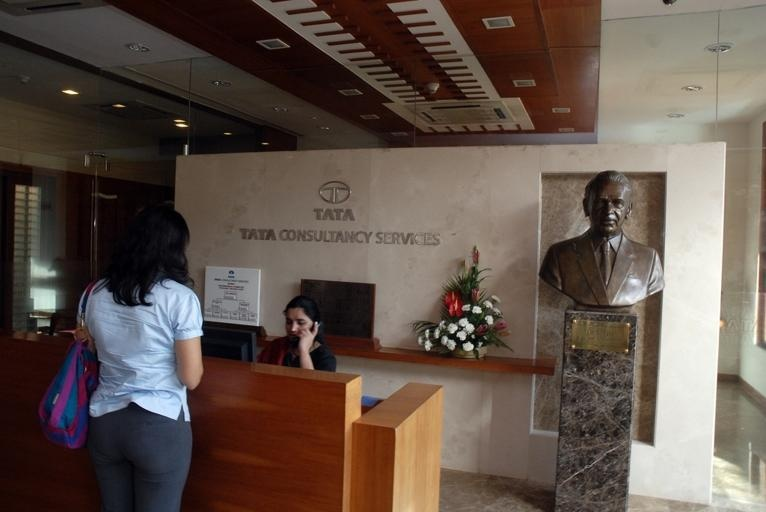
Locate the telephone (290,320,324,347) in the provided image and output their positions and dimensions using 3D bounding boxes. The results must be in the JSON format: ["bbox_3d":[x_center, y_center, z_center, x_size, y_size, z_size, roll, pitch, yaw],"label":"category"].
[{"bbox_3d":[-0.673,0.654,5.084,0.260,0.268,0.219,0,6,-43],"label":"telephone"}]

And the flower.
[{"bbox_3d":[0.955,0.489,6.249,1.200,1.130,1.040,-3,-10,32],"label":"flower"}]

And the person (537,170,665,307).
[{"bbox_3d":[2.072,-0.141,5.527,1.416,1.322,0.716,0,-3,15],"label":"person"}]
